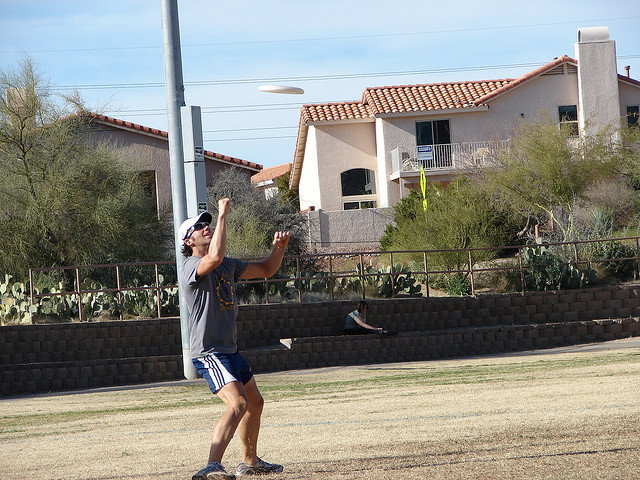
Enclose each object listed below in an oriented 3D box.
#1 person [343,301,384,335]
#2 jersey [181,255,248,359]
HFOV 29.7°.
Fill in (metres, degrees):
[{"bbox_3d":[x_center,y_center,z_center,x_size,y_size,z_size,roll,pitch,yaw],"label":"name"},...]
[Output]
[{"bbox_3d":[1.064,1.963,29.347,0.955,0.974,0.540,5,0,28],"label":"person"},{"bbox_3d":[-1.693,1.144,20.710,0.998,1.912,1.452,-12,-9,34],"label":"jersey"}]
